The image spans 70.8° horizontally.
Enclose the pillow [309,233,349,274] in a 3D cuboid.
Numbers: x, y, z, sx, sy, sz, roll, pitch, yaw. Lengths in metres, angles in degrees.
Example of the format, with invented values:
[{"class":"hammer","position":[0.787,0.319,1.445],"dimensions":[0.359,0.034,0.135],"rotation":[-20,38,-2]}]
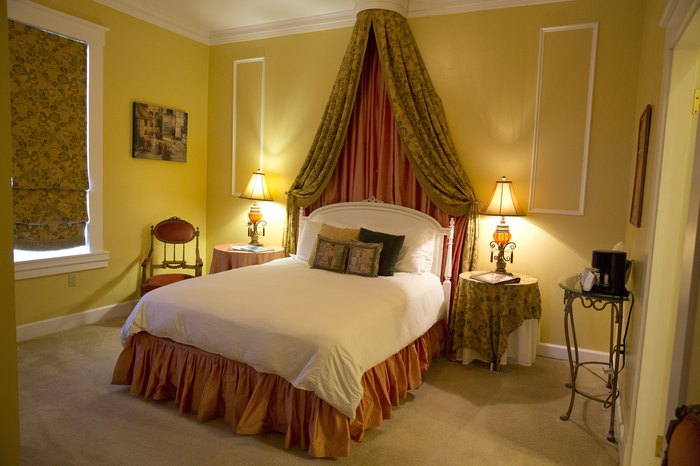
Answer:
[{"class":"pillow","position":[-0.225,0.205,5.095],"dimensions":[0.371,0.362,0.112],"rotation":[0,-14,27]}]

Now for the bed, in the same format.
[{"class":"bed","position":[-0.170,0.736,4.647],"dimensions":[1.739,1.379,2.161],"rotation":[3,4,35]}]

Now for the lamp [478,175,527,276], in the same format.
[{"class":"lamp","position":[1.620,-0.092,5.236],"dimensions":[0.431,0.925,0.370],"rotation":[6,2,15]}]

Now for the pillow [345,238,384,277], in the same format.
[{"class":"pillow","position":[0.149,0.271,5.037],"dimensions":[0.313,0.366,0.145],"rotation":[4,-28,22]}]

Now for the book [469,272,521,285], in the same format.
[{"class":"book","position":[1.460,0.458,4.957],"dimensions":[0.475,0.112,0.373],"rotation":[6,1,24]}]
